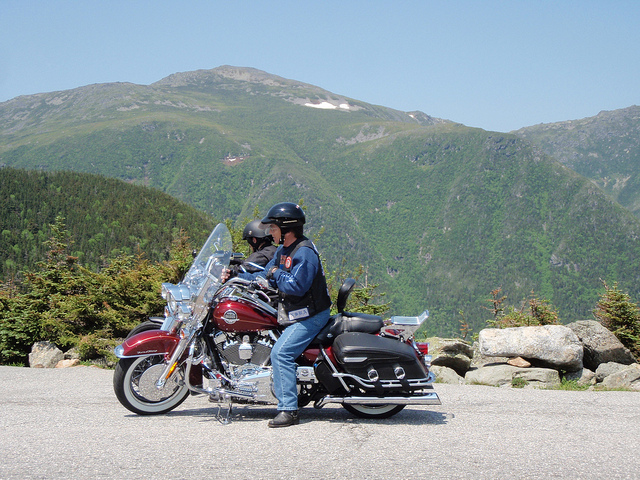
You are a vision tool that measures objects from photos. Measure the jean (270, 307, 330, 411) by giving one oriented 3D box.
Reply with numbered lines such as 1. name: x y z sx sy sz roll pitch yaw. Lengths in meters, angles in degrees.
1. jean: -0.360 1.789 9.548 0.572 1.471 0.516 8 -12 -33

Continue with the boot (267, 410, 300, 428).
1. boot: -0.520 2.669 9.411 0.511 0.227 0.186 4 -6 -28

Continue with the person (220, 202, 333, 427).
1. person: -0.391 1.112 9.729 1.043 3.433 0.756 3 0 2
